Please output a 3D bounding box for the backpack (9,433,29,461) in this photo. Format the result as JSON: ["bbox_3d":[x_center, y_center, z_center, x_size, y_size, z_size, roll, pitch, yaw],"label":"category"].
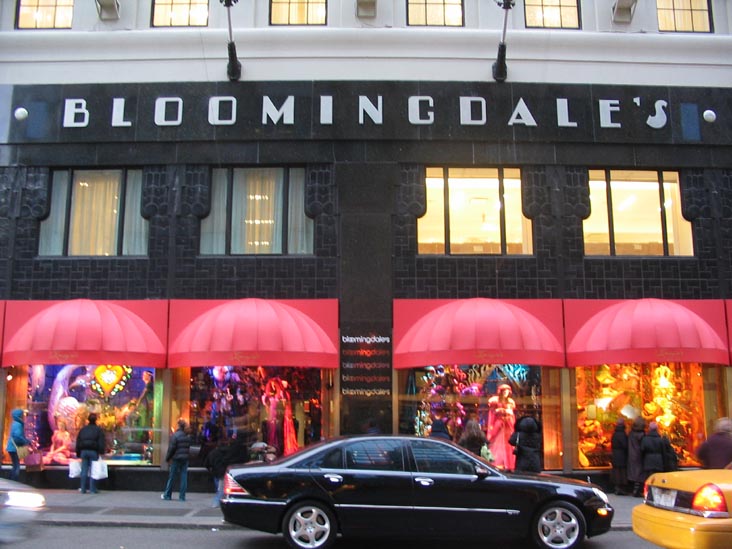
[{"bbox_3d":[-8.586,4.228,19.535,0.437,0.573,0.318,4,-11,-24],"label":"backpack"}]

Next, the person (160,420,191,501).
[{"bbox_3d":[-4.526,4.411,18.981,0.512,1.885,0.694,2,-10,-15],"label":"person"}]

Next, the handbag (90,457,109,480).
[{"bbox_3d":[-6.666,4.812,19.750,0.295,0.604,0.563,-8,-10,16],"label":"handbag"}]

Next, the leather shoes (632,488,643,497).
[{"bbox_3d":[6.766,5.379,19.699,0.203,0.226,0.216,-4,-13,14],"label":"leather shoes"}]
